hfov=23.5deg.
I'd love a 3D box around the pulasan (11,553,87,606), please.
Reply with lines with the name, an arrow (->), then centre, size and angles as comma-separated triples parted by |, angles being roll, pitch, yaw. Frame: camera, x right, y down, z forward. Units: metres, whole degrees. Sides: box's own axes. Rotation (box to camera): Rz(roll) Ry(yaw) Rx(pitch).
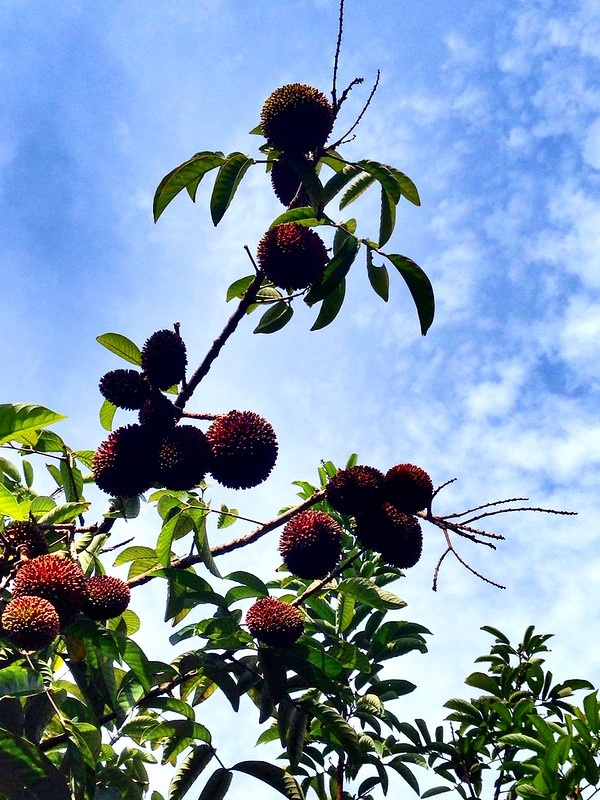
pulasan -> -1.138, 0.810, 6.587 | 0.234, 0.238, 0.219 | 13, -77, 37

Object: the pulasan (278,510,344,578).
pulasan -> 0.068, 0.724, 7.467 | 0.303, 0.402, 0.337 | 12, -41, 12

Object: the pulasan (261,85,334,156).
pulasan -> -0.027, -1.408, 7.308 | 0.344, 0.271, 0.291 | 23, -40, -1

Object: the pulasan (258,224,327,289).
pulasan -> -0.036, -0.745, 7.327 | 0.320, 0.345, 0.350 | -10, -13, 12

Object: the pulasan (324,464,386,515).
pulasan -> 0.281, 0.439, 7.457 | 0.366, 0.287, 0.193 | -6, -86, 18

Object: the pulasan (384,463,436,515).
pulasan -> 0.550, 0.452, 7.433 | 0.246, 0.257, 0.150 | 31, -41, -11

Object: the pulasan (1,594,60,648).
pulasan -> -1.153, 0.973, 6.419 | 0.225, 0.217, 0.228 | 10, -6, 7

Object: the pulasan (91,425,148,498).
pulasan -> -0.874, 0.357, 7.174 | 0.269, 0.233, 0.265 | 3, -63, 40

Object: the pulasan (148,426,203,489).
pulasan -> -0.575, 0.310, 7.164 | 0.248, 0.277, 0.285 | 21, -40, 2
